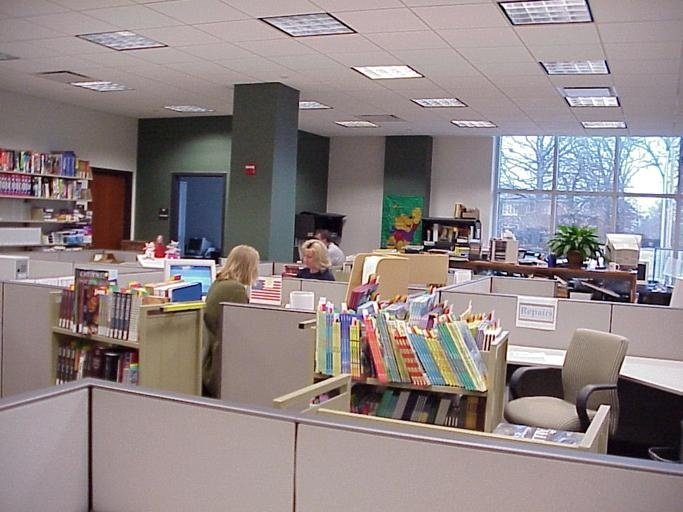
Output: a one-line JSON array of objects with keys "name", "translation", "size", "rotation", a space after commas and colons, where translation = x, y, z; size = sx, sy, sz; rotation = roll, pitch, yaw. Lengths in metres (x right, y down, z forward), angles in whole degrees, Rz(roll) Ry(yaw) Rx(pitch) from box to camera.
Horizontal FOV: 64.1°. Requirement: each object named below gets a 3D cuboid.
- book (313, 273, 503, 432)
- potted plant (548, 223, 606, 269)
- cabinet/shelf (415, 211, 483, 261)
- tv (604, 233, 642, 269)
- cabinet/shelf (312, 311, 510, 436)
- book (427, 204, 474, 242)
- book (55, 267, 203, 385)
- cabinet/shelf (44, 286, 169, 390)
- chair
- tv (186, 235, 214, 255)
[{"name": "book", "translation": [0.372, 0.480, 2.819], "size": [1.058, 0.768, 0.642], "rotation": [4, 9, 26]}, {"name": "potted plant", "translation": [3.365, -0.124, 7.964], "size": [0.701, 0.559, 0.693], "rotation": [0, -1, -30]}, {"name": "cabinet/shelf", "translation": [1.812, -0.389, 9.235], "size": [1.219, 0.810, 0.635], "rotation": [0, -4, 20]}, {"name": "tv", "translation": [4.042, -0.081, 7.768], "size": [0.490, 0.479, 0.518], "rotation": [3, 5, 30]}, {"name": "cabinet/shelf", "translation": [0.412, 0.454, 2.829], "size": [1.014, 0.714, 0.577], "rotation": [3, 1, 27]}, {"name": "book", "translation": [1.858, -0.481, 9.464], "size": [0.940, 0.850, 0.644], "rotation": [1, 3, 19]}, {"name": "book", "translation": [-1.391, 0.486, 3.543], "size": [0.810, 0.740, 0.390], "rotation": [5, 6, 25]}, {"name": "cabinet/shelf", "translation": [-1.448, 0.499, 3.417], "size": [0.701, 0.653, 0.231], "rotation": [3, 0, 23]}, {"name": "chair", "translation": [1.375, 0.741, 3.359], "size": [0.570, 0.418, 0.475], "rotation": [2, 6, -29]}, {"name": "tv", "translation": [-3.023, -0.228, 11.523], "size": [0.462, 0.351, 0.474], "rotation": [2, 1, 9]}]
